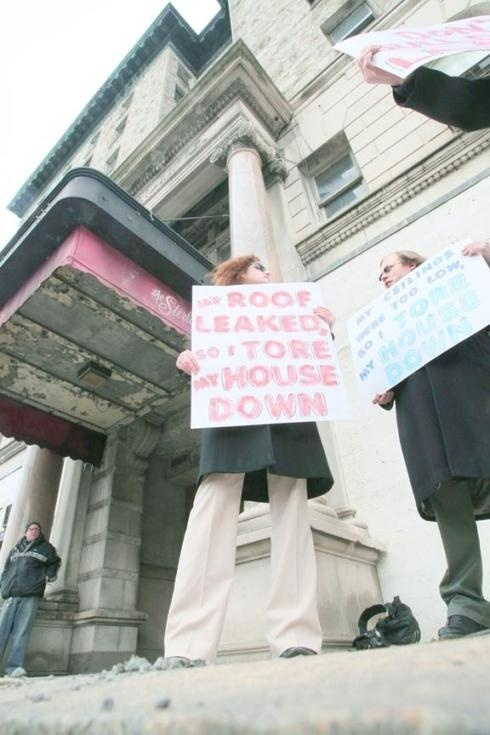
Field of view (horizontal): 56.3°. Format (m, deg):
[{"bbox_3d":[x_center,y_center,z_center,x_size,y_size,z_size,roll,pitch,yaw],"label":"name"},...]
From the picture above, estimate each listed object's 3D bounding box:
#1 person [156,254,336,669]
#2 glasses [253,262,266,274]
[{"bbox_3d":[0.057,0.267,2.077,0.692,1.939,0.582,2,-22,-11],"label":"person"},{"bbox_3d":[0.099,-0.601,2.754,0.030,0.091,0.065,-41,-20,8],"label":"glasses"}]
